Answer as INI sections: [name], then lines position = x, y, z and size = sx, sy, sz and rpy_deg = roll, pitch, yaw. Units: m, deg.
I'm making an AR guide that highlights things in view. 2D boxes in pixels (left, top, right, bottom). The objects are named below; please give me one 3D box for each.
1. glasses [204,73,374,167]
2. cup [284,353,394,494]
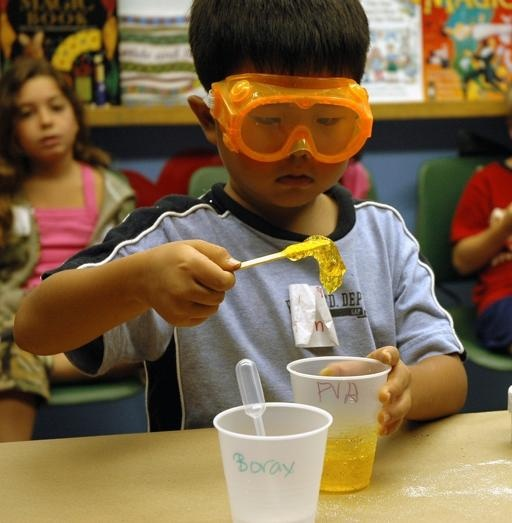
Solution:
[glasses]
position = 0.058, -0.222, 1.042
size = 0.246, 0.130, 0.118
rpy_deg = -2, 24, -3
[cup]
position = 0.108, 0.199, 0.863
size = 0.158, 0.143, 0.147
rpy_deg = -1, 2, 0
